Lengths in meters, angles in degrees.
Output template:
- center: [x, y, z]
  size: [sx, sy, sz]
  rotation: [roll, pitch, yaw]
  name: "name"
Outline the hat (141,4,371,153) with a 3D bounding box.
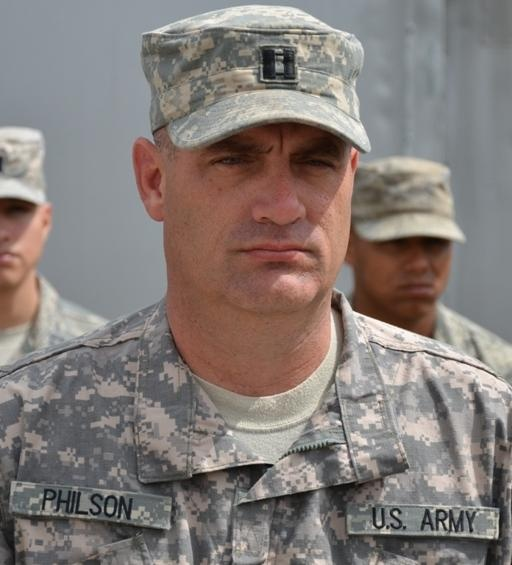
- center: [-0.018, -0.613, 4.313]
  size: [0.686, 0.488, 0.427]
  rotation: [-2, -12, 1]
  name: "hat"
